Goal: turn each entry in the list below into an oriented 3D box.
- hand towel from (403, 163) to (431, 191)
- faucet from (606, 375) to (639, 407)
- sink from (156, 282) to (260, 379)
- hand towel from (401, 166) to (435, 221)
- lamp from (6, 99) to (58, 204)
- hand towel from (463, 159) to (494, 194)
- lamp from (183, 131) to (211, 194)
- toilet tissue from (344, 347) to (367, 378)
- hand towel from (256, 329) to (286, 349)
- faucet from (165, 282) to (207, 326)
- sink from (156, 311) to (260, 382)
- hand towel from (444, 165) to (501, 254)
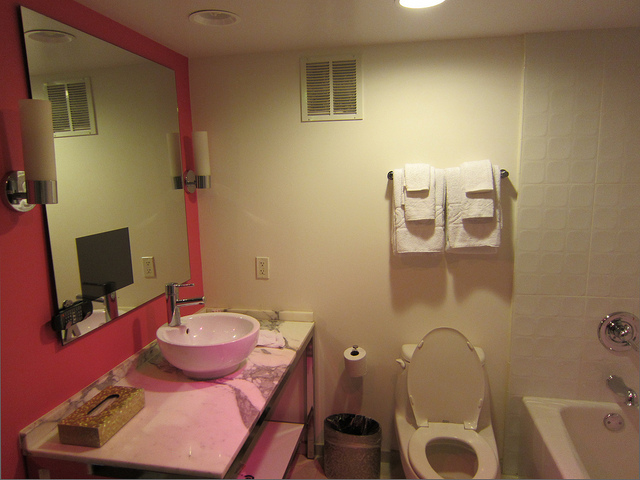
[{"bbox_3d":[0.545,-0.350,2.778,0.150,0.143,0.079,1,10,13],"label":"hand towel"},{"bbox_3d":[1.695,0.835,2.768,0.096,0.037,0.151,-34,32,-19],"label":"faucet"},{"bbox_3d":[-0.572,0.497,2.517,0.456,0.427,0.490,2,11,12],"label":"sink"},{"bbox_3d":[0.559,-0.264,2.769,0.191,0.288,0.069,-1,6,4],"label":"hand towel"},{"bbox_3d":[-1.109,-0.351,1.955,0.190,0.474,0.146,1,8,14],"label":"lamp"},{"bbox_3d":[0.869,-0.344,2.732,0.154,0.174,0.064,2,10,16],"label":"hand towel"},{"bbox_3d":[-0.695,-0.431,2.817,0.154,0.364,0.113,-6,0,-15],"label":"lamp"},{"bbox_3d":[0.207,0.707,2.981,0.142,0.166,0.147,-8,23,-7],"label":"toilet tissue"},{"bbox_3d":[-0.271,0.561,2.842,0.159,0.027,0.243,-2,11,-2],"label":"hand towel"},{"bbox_3d":[-0.701,0.311,2.618,0.155,0.255,0.165,-2,16,-42],"label":"faucet"},{"bbox_3d":[-0.560,0.548,2.537,0.500,0.235,0.469,-3,11,-7],"label":"sink"},{"bbox_3d":[0.822,-0.172,2.701,0.305,0.491,0.112,1,7,4],"label":"hand towel"}]
